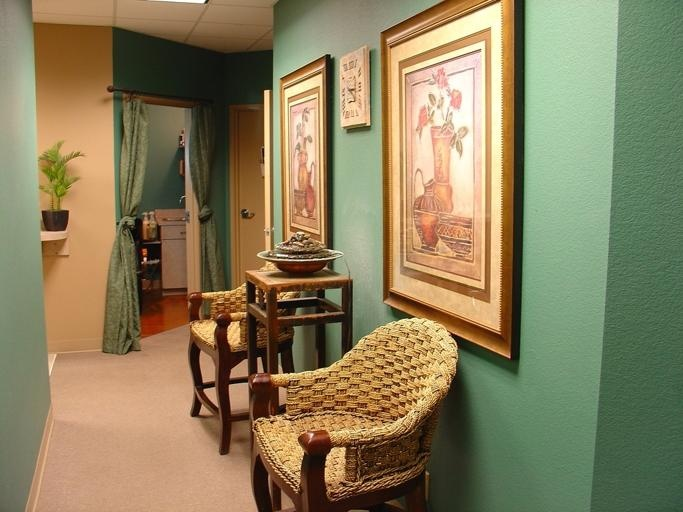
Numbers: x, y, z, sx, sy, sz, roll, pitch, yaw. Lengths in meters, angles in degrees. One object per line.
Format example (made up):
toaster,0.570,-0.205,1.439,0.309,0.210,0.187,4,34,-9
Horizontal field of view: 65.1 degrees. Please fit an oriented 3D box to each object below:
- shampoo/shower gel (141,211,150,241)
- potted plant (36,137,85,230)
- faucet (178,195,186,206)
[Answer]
shampoo/shower gel,-2.661,-0.410,7.293,0.107,0.376,0.327,-3,9,-18
potted plant,-2.566,-0.643,4.925,0.392,0.813,0.330,-4,10,-25
faucet,-2.276,-0.798,7.668,0.091,0.145,0.093,-8,12,-42
